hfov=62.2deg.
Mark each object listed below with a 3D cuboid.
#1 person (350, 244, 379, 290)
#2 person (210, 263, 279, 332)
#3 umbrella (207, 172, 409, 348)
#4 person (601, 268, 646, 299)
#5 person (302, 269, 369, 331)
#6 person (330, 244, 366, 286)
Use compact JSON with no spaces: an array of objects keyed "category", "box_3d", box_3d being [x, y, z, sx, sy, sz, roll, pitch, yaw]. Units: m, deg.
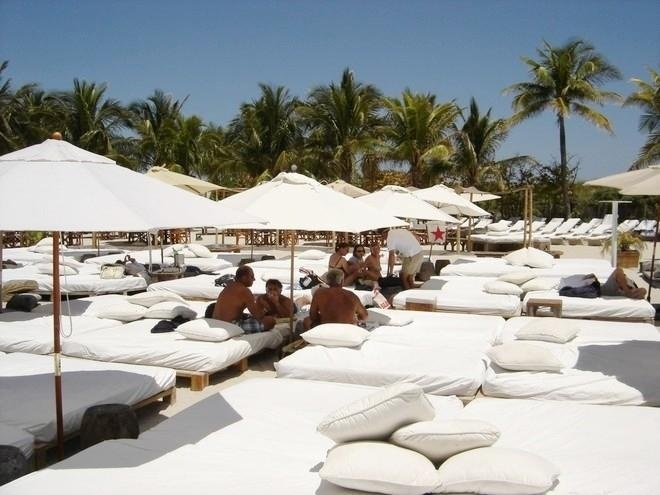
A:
[{"category":"person","box_3d":[0.746,0.396,10.934,0.549,0.865,0.791,0,2,-28]},{"category":"person","box_3d":[-1.200,0.699,7.383,0.712,0.950,0.926,0,7,-45]},{"category":"umbrella","box_3d":[-0.302,-0.068,6.793,1.904,1.477,2.041,2,2,9]},{"category":"person","box_3d":[4.695,0.614,9.051,0.859,0.518,0.333,-7,-16,43]},{"category":"person","box_3d":[0.034,0.849,7.195,0.769,1.167,0.630,4,-9,-6]},{"category":"person","box_3d":[0.321,0.318,10.858,0.720,0.976,0.522,-12,24,-20]}]
